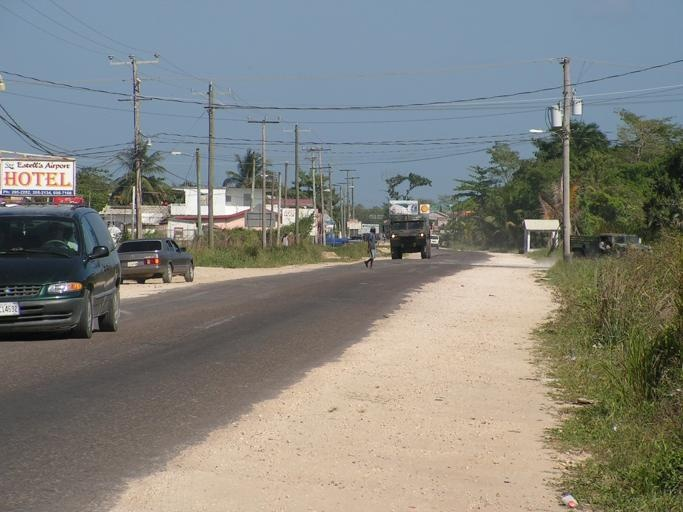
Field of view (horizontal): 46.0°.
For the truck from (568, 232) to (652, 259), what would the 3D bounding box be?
[{"bbox_3d":[11.625,-0.478,35.193,2.742,1.115,1.304,-2,1,20],"label":"truck"}]
